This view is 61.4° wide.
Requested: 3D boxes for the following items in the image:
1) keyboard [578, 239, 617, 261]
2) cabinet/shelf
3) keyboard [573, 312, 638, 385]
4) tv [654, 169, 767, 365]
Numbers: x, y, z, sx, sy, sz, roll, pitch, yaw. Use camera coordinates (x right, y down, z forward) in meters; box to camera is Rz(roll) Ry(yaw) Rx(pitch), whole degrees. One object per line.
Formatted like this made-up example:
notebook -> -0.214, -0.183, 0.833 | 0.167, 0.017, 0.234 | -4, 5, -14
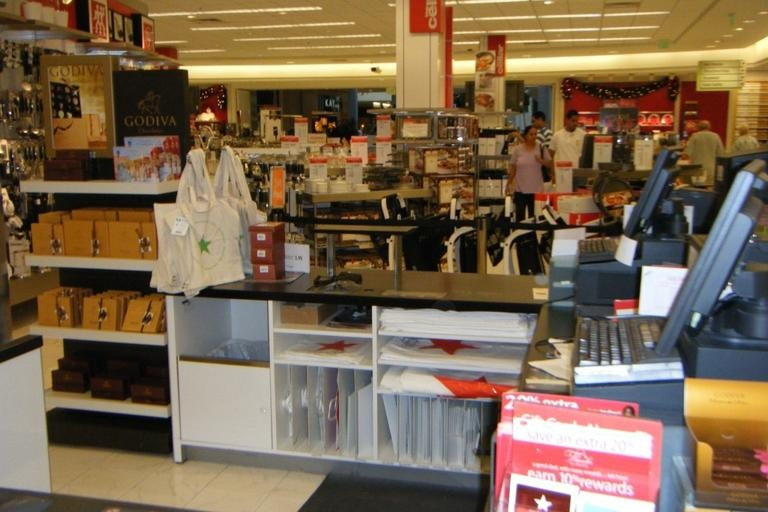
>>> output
keyboard -> 0.984, -0.026, 3.002 | 0.138, 0.035, 0.188 | 4, 19, 21
cabinet/shelf -> -0.263, 0.021, 4.223 | 4.060, 1.813, 1.338 | 3, 15, 10
keyboard -> 0.759, 0.315, 2.166 | 0.214, 0.099, 0.460 | -4, 15, 19
tv -> 1.073, 0.048, 2.143 | 0.112, 0.581, 0.806 | 30, 11, 22
